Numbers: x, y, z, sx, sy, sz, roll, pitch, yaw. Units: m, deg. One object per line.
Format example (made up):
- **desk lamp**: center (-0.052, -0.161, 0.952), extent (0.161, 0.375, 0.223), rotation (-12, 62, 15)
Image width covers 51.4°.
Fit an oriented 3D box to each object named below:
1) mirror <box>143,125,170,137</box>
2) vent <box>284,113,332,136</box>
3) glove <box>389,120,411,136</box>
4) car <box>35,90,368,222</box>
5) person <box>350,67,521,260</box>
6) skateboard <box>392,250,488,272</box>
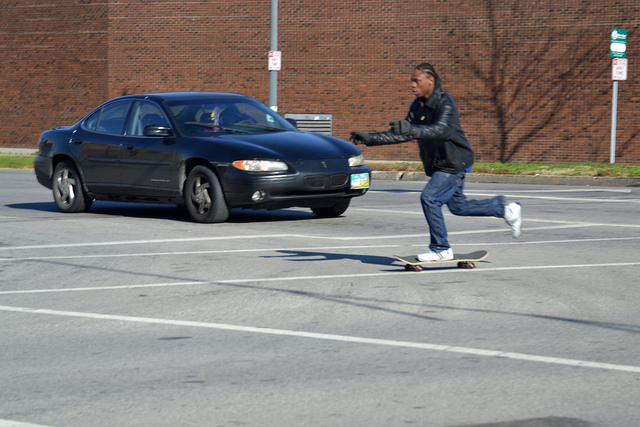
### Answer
- **mirror**: center (-2.840, -1.457, 11.573), extent (0.384, 0.210, 0.438), rotation (-2, 6, -1)
- **vent**: center (-0.321, -3.237, 23.729), extent (1.638, 0.756, 0.913), rotation (1, 8, 20)
- **glove**: center (0.860, -0.921, 7.081), extent (0.221, 0.158, 0.283), rotation (-2, 7, 5)
- **car**: center (-2.384, -1.134, 12.815), extent (6.314, 1.206, 2.992), rotation (9, 13, 42)
- **person**: center (1.372, -0.556, 7.546), extent (1.860, 2.217, 0.684), rotation (-11, 12, -40)
- **skateboard**: center (1.291, 0.557, 7.812), extent (1.481, 0.129, 0.292), rotation (-1, 11, -7)
